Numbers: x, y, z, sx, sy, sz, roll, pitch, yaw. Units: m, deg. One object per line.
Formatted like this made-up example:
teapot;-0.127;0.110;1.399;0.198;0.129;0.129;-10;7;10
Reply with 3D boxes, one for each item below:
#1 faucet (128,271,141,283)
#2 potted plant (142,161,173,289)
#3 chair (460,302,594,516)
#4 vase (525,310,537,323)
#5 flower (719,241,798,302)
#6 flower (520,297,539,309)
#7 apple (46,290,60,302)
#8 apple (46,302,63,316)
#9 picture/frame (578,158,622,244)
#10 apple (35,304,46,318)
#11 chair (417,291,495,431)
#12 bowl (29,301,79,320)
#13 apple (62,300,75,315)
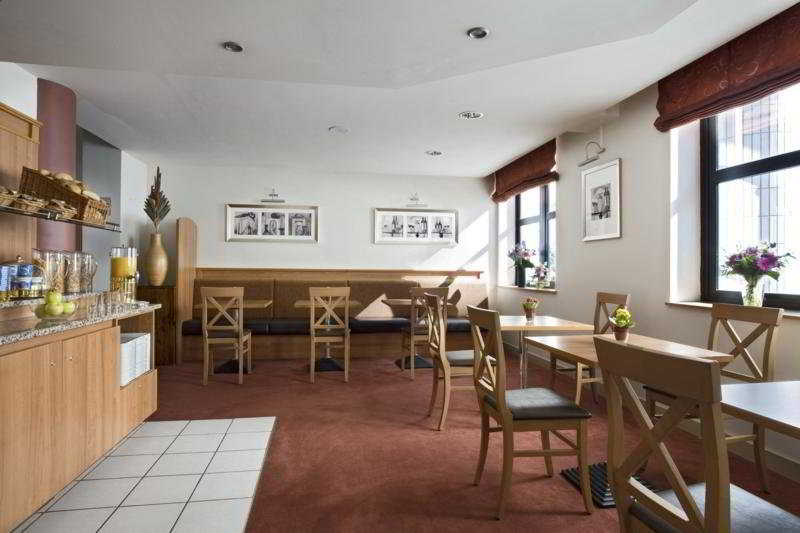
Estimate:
faucet;-2.750;0.116;5.126;0.099;0.113;0.216;1;1;-21
potted plant;-3.673;-0.636;7.550;0.363;1.838;0.921;1;1;-26
chair;1.123;1.141;4.803;1.278;2.332;1.367;-1;-2;-6
vase;1.395;0.529;5.275;0.121;0.132;0.119;0;3;-40
flower;3.173;0.063;4.393;0.549;0.523;0.443;1;1;-43
flower;1.603;0.450;6.121;0.247;0.174;0.248;4;-7;-22
apple;-2.731;0.238;3.931;0.082;0.091;0.084;5;-8;-11
apple;-2.683;0.338;3.858;0.101;0.078;0.082;-30;-27;8
picture/frame;2.407;-0.773;5.964;0.131;0.715;0.660;1;1;-10
apple;-2.796;0.350;3.866;0.062;0.117;0.111;0;1;-40
chair;0.515;0.989;5.800;1.010;1.901;1.126;-1;-1;-5
bowl;-2.702;0.347;3.895;0.188;0.091;0.185;-1;-5;0
apple;-2.614;0.330;3.961;0.086;0.104;0.091;0;3;5
